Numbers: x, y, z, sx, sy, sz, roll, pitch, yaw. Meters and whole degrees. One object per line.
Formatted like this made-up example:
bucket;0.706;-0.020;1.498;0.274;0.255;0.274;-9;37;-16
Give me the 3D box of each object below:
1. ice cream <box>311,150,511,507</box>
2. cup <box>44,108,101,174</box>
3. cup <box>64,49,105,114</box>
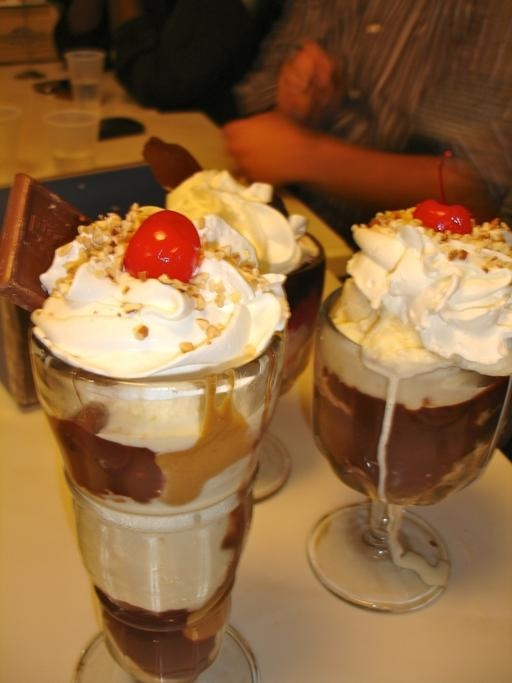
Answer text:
ice cream;0.193;0.021;0.843;0.242;0.344;0.280;9;32;4
cup;-0.342;-0.408;1.353;0.124;0.109;0.113;2;42;-2
cup;-0.338;-0.512;1.311;0.068;0.105;0.076;-2;33;-12
